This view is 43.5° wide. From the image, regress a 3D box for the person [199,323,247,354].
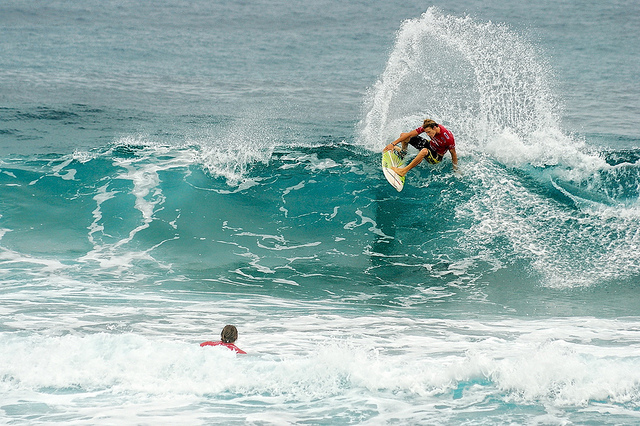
[{"bbox_3d":[-2.461,3.469,21.762,1.825,0.752,0.742,3,0,27],"label":"person"}]
